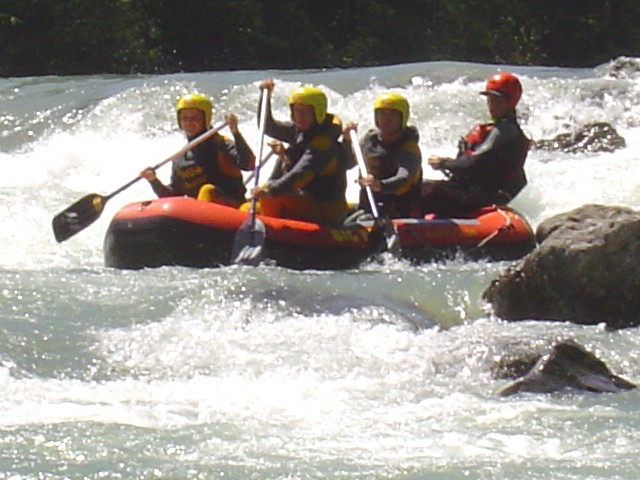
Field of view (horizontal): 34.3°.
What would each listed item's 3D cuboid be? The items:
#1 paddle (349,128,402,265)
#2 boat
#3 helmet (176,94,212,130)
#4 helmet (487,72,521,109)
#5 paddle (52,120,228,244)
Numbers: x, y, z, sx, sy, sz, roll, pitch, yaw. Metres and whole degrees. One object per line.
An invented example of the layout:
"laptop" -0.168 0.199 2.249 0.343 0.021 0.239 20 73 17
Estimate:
"paddle" 0.567 -0.435 10.959 0.385 1.464 0.126 -31 -10 28
"boat" -0.099 -0.058 10.929 3.223 0.545 1.441 -2 9 -12
"helmet" -1.411 -1.422 11.395 0.371 0.394 0.331 7 34 -3
"helmet" 2.035 -1.670 11.577 0.429 0.270 0.293 3 29 -19
"paddle" -2.080 -0.625 11.966 2.130 0.338 0.097 -24 24 0
